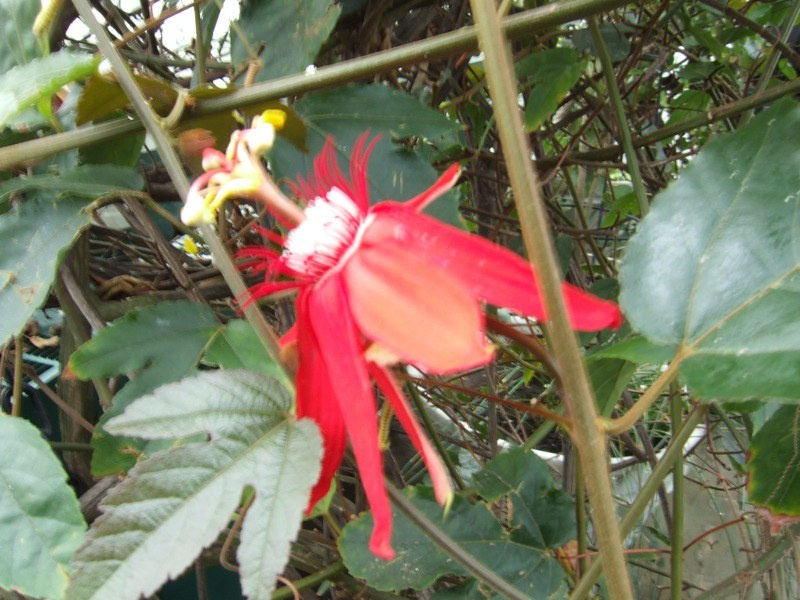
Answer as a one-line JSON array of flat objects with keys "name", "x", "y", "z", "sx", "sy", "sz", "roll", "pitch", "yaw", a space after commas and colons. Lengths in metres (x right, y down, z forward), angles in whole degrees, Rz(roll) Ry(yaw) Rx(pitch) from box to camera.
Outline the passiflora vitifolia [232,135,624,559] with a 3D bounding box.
[{"name": "passiflora vitifolia", "x": 0.005, "y": -0.039, "z": 0.779, "sx": 0.407, "sy": 0.191, "sz": 0.366, "roll": -3, "pitch": 24, "yaw": 38}]
